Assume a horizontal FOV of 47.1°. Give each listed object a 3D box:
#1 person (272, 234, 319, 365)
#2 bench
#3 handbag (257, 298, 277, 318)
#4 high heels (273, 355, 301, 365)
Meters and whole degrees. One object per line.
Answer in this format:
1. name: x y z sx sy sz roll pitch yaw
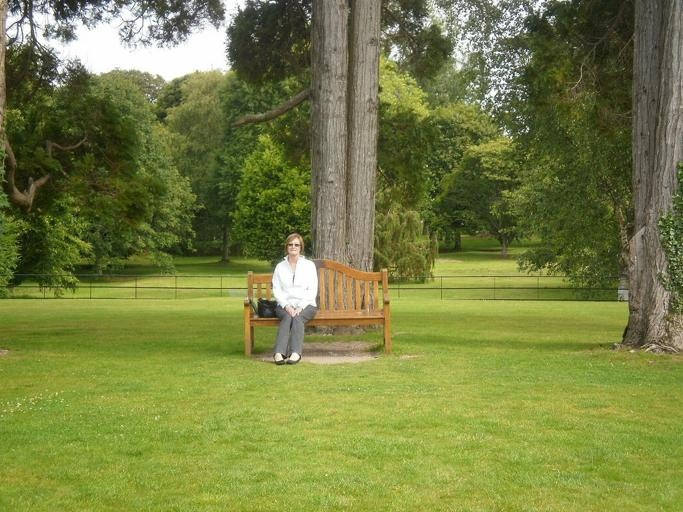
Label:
1. person: -0.725 0.684 12.332 0.723 1.968 1.353 -1 8 -4
2. bench: -0.365 0.889 13.239 0.912 1.625 2.614 -11 -11 41
3. handbag: -1.161 0.815 12.307 0.288 0.283 0.259 -2 1 0
4. high heels: -0.805 1.548 11.882 0.416 0.162 0.198 -3 8 -19
